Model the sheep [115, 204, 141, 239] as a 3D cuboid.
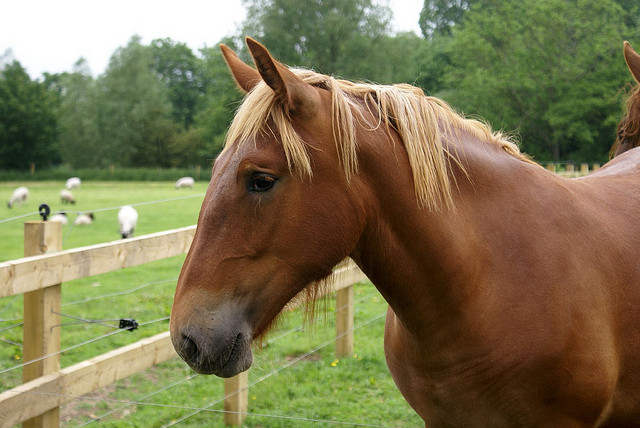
[{"bbox_3d":[-2.712,0.117,10.288,0.292,0.496,0.691,7,4,-11],"label":"sheep"}]
